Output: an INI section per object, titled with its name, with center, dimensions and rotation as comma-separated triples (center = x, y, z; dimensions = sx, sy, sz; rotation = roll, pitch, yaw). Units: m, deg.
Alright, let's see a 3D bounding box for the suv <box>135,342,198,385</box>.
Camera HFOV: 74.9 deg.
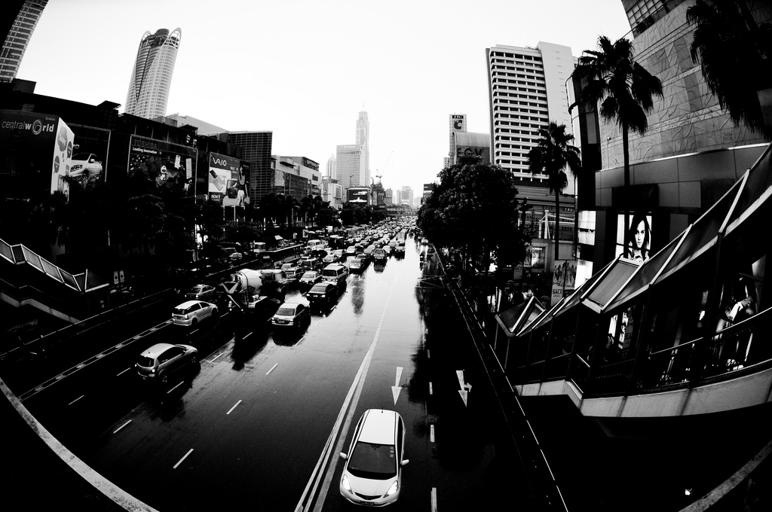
[suv]
center = -12.765, 6.034, 29.849
dimensions = 1.910, 1.902, 3.720
rotation = 7, 17, 21
